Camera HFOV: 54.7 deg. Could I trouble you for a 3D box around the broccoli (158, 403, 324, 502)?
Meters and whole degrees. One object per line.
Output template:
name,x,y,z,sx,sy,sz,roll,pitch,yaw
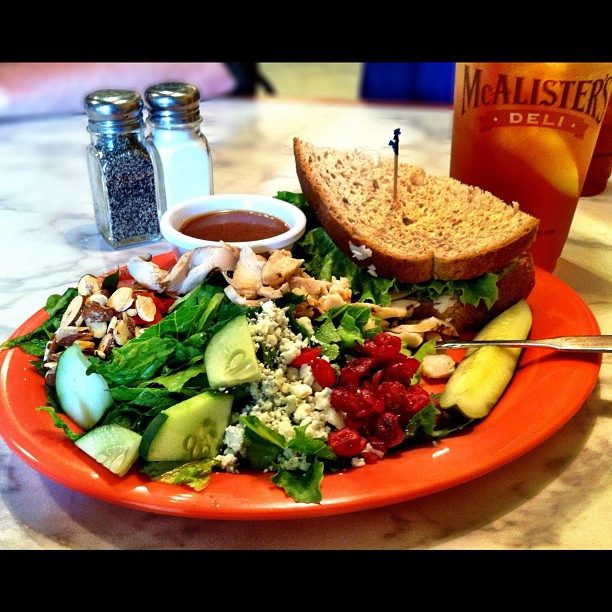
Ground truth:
broccoli,-0.067,0.221,0.856,0.177,0.035,0.127,0,39,-5

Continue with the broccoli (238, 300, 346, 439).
broccoli,-0.039,0.103,0.938,0.078,0.167,0.190,-34,53,34

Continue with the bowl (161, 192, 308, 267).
bowl,-0.192,-0.176,1.489,0.312,0.271,0.089,-15,58,19

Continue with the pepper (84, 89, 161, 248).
pepper,-0.583,-0.387,1.701,0.244,0.415,0.258,27,34,33

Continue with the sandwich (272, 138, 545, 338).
sandwich,0.218,-0.203,1.486,0.194,0.728,0.403,-34,44,46
